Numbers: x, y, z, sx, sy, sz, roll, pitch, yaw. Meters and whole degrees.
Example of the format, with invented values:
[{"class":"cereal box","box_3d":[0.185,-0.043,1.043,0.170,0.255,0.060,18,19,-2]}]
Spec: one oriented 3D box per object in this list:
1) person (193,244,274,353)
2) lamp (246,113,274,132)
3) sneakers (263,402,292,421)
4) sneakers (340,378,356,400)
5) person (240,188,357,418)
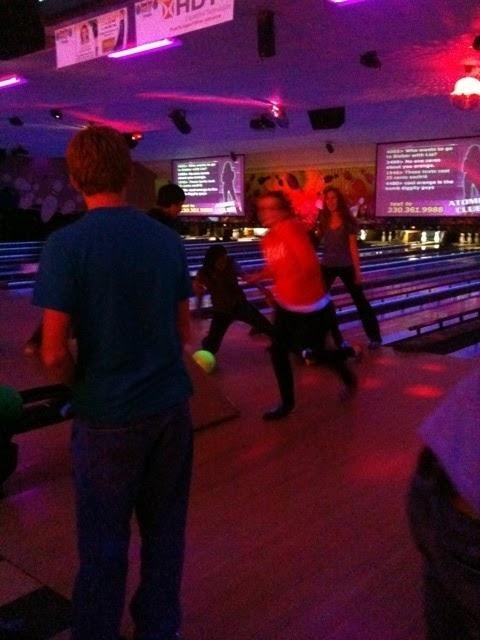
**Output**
[{"class":"person","box_3d":[-0.059,-0.121,3.143,0.617,1.194,0.382,-12,53,-2]},{"class":"lamp","box_3d":[0.498,-4.218,8.824,0.450,0.280,0.656,6,15,13]},{"class":"sneakers","box_3d":[0.212,0.497,2.318,0.168,0.125,0.073,-6,42,-7]},{"class":"sneakers","box_3d":[0.634,0.394,2.438,0.043,0.138,0.093,13,-7,-32]},{"class":"person","box_3d":[0.381,-0.093,2.416,0.539,1.207,0.804,0,7,5]}]
